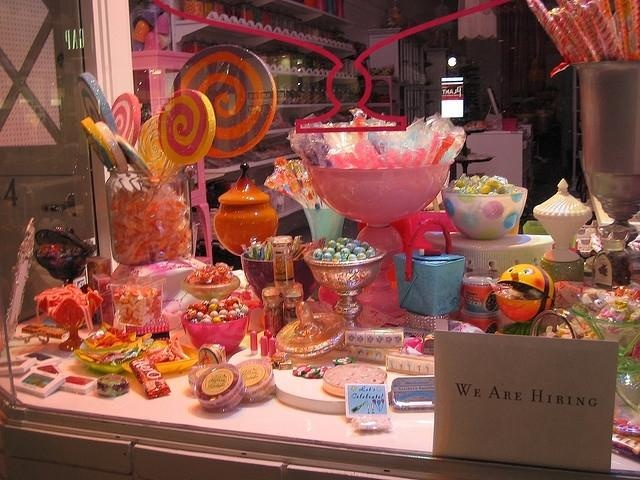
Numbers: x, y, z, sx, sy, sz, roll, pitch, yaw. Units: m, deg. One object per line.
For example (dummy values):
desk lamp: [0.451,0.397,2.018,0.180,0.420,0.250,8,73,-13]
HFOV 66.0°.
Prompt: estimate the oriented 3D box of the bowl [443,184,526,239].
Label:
bowl: [0.486,-0.064,1.444,0.243,0.150,0.262,-3,8,0]

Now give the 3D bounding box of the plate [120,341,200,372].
plate: [-0.381,0.295,1.245,0.129,0.062,0.101,-6,9,-21]

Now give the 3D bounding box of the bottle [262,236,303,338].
bottle: [-0.102,0.123,1.329,0.106,0.252,0.095,-2,8,5]

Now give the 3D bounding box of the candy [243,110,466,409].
candy: [0.040,0.013,1.563,0.645,0.727,0.666,1,4,3]

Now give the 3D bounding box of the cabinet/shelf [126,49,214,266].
cabinet/shelf: [-0.790,-0.376,2.625,0.489,1.065,0.489,-11,4,-22]

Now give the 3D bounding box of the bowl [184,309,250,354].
bowl: [-0.279,0.263,1.330,0.169,0.104,0.177,-5,-1,0]
